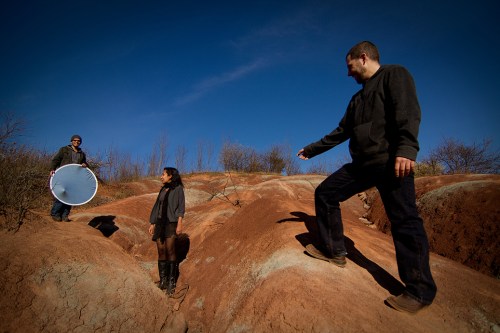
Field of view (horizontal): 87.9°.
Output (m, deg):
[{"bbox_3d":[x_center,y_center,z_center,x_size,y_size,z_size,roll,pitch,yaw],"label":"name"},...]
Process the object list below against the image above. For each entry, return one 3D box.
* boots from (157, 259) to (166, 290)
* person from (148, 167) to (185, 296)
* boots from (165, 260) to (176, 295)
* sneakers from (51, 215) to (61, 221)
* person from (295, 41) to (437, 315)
[{"bbox_3d":[-1.861,2.305,5.542,0.163,0.572,0.224,3,-4,-22],"label":"boots"},{"bbox_3d":[-1.794,1.334,5.757,0.831,2.642,0.486,-1,-5,39],"label":"person"},{"bbox_3d":[-1.668,2.331,5.516,0.210,0.624,0.378,3,-4,-18],"label":"boots"},{"bbox_3d":[-4.723,1.258,6.388,0.298,0.112,0.235,-6,-9,32],"label":"sneakers"},{"bbox_3d":[1.777,0.029,3.896,1.515,3.888,0.502,-1,-5,38],"label":"person"}]
